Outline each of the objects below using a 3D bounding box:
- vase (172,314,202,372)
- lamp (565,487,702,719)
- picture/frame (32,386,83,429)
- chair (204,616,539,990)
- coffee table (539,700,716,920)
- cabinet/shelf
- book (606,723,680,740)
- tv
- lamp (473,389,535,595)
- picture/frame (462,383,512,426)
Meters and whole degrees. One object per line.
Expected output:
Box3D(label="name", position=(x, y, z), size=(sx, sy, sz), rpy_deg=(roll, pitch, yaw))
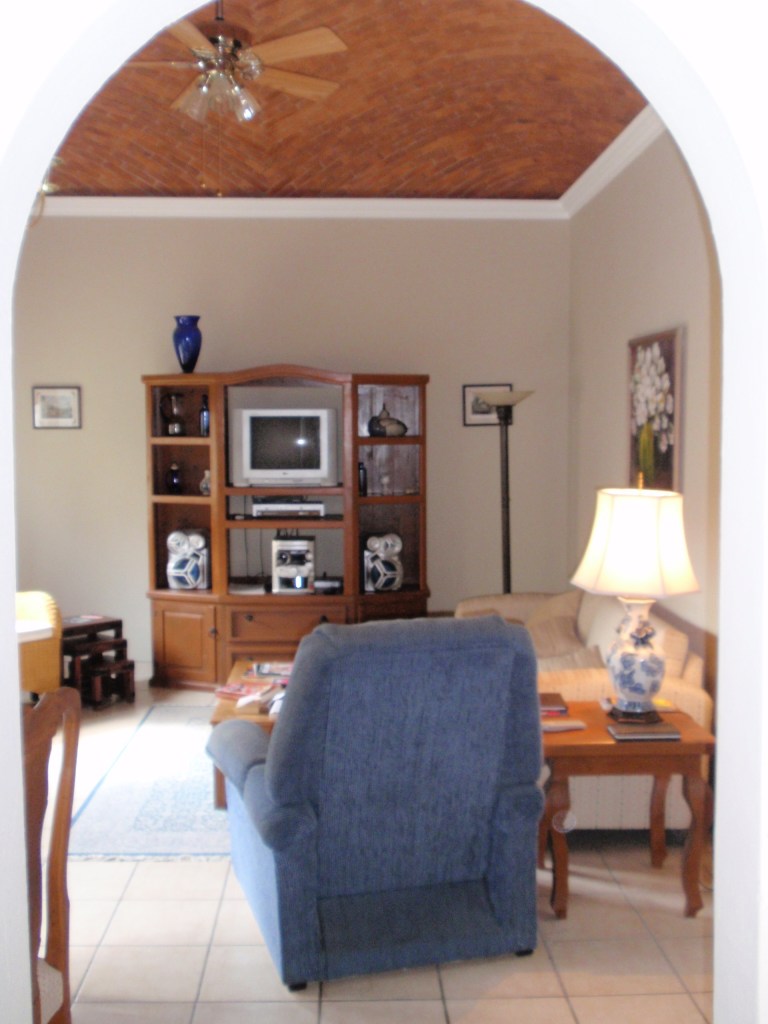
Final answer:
Box3D(label="vase", position=(-1.138, -0.971, 5.227), size=(0.141, 0.344, 0.199), rpy_deg=(-2, 4, -14))
Box3D(label="lamp", position=(0.774, 0.274, 2.864), size=(0.365, 0.681, 0.392), rpy_deg=(0, 4, 12))
Box3D(label="picture/frame", position=(-1.999, -0.649, 5.534), size=(0.244, 0.229, 0.087), rpy_deg=(0, 2, -3))
Box3D(label="chair", position=(0.044, 0.674, 2.549), size=(0.895, 1.067, 0.873), rpy_deg=(-2, 6, -10))
Box3D(label="coffee table", position=(0.700, 0.916, 2.796), size=(0.516, 0.505, 0.491), rpy_deg=(-1, -2, 4))
Box3D(label="cabinet/shelf", position=(-0.552, 0.033, 4.885), size=(1.875, 2.170, 0.602), rpy_deg=(0, 2, -1))
Box3D(label="book", position=(0.739, 0.637, 2.600), size=(0.191, 0.027, 0.080), rpy_deg=(-1, 4, 0))
Box3D(label="tv", position=(-0.589, -0.424, 5.348), size=(0.649, 0.486, 0.359), rpy_deg=(-1, 21, -9))
Box3D(label="lamp", position=(0.671, -0.109, 5.267), size=(0.320, 1.267, 0.972), rpy_deg=(0, 4, 8))
Box3D(label="picture/frame", position=(0.596, -0.631, 5.393), size=(0.307, 0.289, 0.029), rpy_deg=(0, 0, 2))
